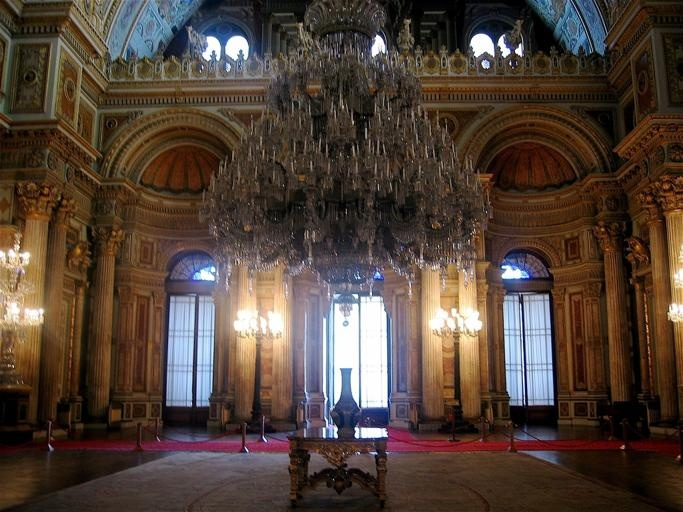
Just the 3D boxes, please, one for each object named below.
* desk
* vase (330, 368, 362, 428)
[{"bbox_3d":[-0.048,3.358,10.349,1.540,1.041,1.652,0,-8,2],"label":"desk"},{"bbox_3d":[0.069,2.378,10.602,0.469,1.019,0.594,0,-7,0],"label":"vase"}]
